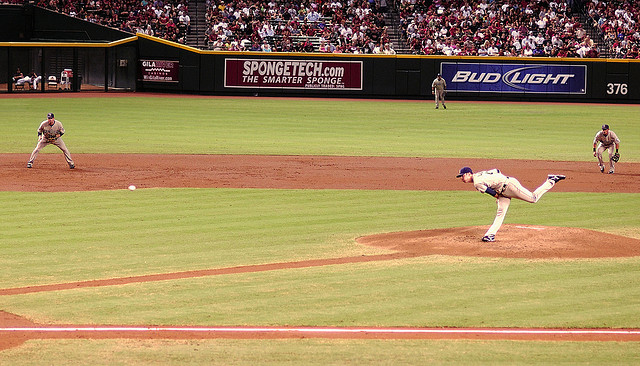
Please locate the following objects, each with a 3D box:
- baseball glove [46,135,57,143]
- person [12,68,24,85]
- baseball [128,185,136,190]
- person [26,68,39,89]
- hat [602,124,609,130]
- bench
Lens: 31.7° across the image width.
[{"bbox_3d":[-11.935,-1.983,50.317,0.401,0.304,0.218,4,11,16],"label":"baseball glove"},{"bbox_3d":[-18.449,-6.611,69.439,0.422,0.959,0.767,8,12,31],"label":"person"},{"bbox_3d":[-8.007,0.178,48.280,0.302,0.104,0.244,-1,10,-15],"label":"baseball"},{"bbox_3d":[-17.683,-6.438,69.872,0.799,1.237,0.368,-2,12,-16],"label":"person"},{"bbox_3d":[12.785,-2.552,50.597,0.435,0.222,0.554,1,-2,26],"label":"hat"},{"bbox_3d":[-2.624,-9.357,71.612,12.133,2.026,1.706,0,-5,-4],"label":"bench"}]
